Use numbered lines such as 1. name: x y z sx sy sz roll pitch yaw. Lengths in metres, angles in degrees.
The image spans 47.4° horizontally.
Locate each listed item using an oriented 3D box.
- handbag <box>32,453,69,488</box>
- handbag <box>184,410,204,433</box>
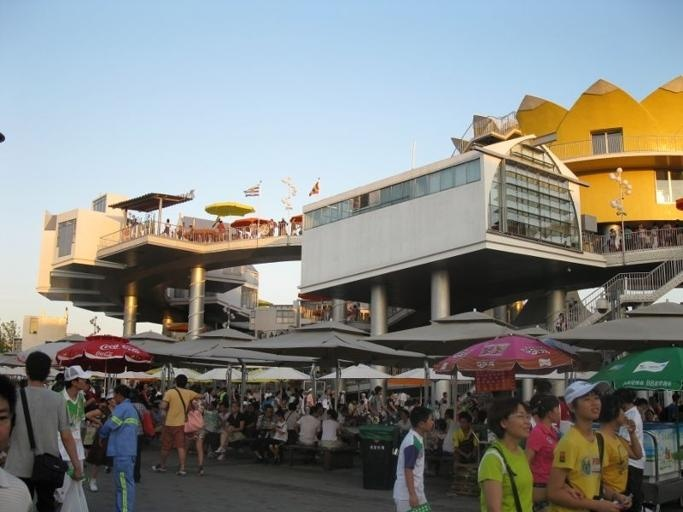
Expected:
1. handbag: -3.289 2.411 8.731 0.363 0.370 0.239 4 -11 -19
2. handbag: -3.312 3.664 17.184 0.318 0.550 0.550 -15 -17 43
